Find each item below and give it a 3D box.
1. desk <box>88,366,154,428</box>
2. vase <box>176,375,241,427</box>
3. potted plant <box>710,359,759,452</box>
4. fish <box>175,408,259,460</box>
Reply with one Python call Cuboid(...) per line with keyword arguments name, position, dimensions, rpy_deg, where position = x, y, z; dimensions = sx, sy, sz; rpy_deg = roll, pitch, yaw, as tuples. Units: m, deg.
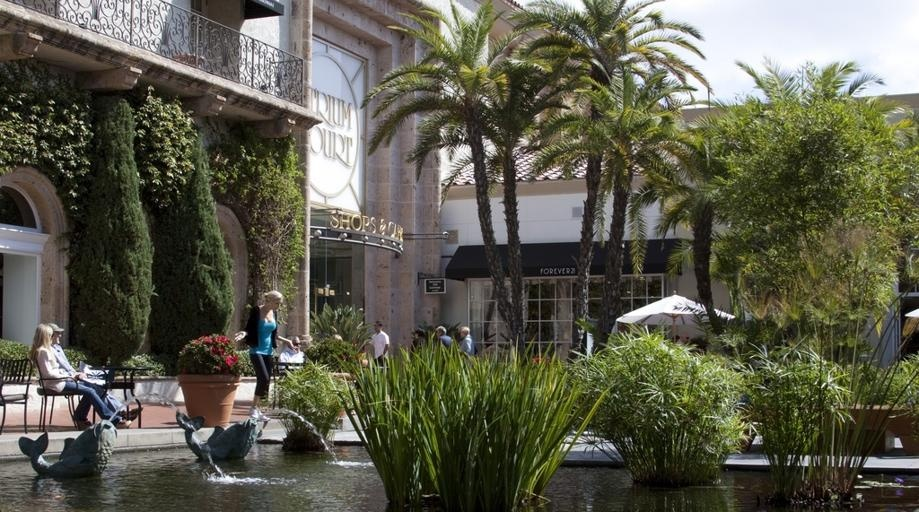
Cuboid(name="desk", position=(-7.045, 2.930, 21.142), dimensions=(0.956, 1.117, 0.771), rpy_deg=(3, -5, -35))
Cuboid(name="vase", position=(-5.238, 3.075, 21.664), dimensions=(1.078, 0.842, 1.115), rpy_deg=(2, -9, -15))
Cuboid(name="potted plant", position=(4.428, 2.404, 16.689), dimensions=(0.622, 1.510, 0.929), rpy_deg=(-1, -7, 15))
Cuboid(name="fish", position=(-4.377, 3.326, 18.686), dimensions=(1.369, 0.840, 0.714), rpy_deg=(3, -8, -20))
